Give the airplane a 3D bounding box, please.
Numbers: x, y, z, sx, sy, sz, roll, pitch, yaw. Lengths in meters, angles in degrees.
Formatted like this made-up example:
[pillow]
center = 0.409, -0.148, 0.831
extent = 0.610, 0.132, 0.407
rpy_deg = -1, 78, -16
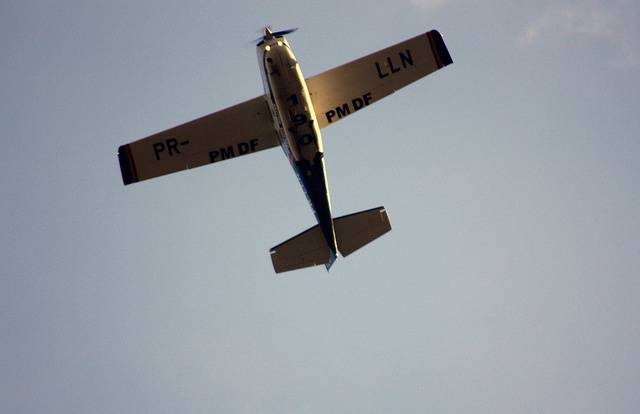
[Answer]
[airplane]
center = -0.848, -2.171, 36.968
extent = 12.229, 5.431, 7.166
rpy_deg = -18, -42, 5
